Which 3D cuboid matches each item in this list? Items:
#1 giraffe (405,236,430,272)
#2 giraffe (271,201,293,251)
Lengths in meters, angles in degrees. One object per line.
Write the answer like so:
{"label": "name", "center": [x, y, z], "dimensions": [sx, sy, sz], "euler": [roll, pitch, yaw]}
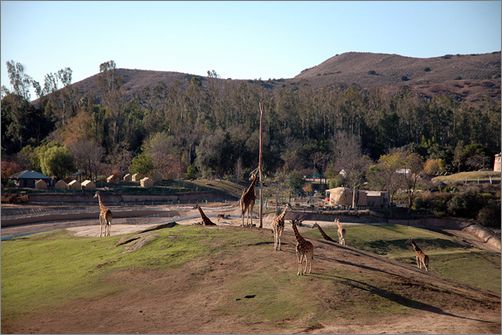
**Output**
{"label": "giraffe", "center": [21.633, 11.366, 67.079], "dimensions": [1.512, 4.595, 6.005], "euler": [1, -1, 27]}
{"label": "giraffe", "center": [3.290, 6.812, 59.378], "dimensions": [2.023, 4.841, 1.800], "euler": [-2, 5, -3]}
